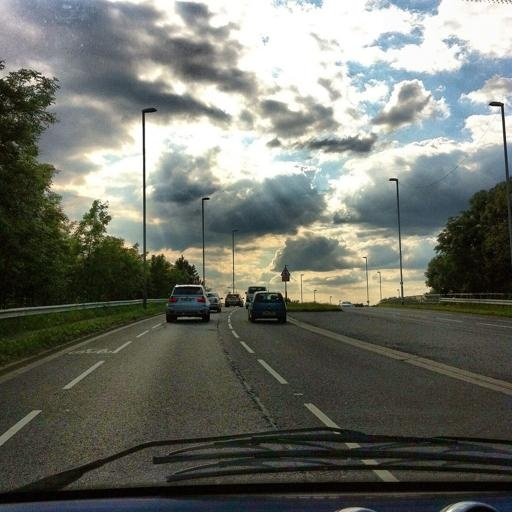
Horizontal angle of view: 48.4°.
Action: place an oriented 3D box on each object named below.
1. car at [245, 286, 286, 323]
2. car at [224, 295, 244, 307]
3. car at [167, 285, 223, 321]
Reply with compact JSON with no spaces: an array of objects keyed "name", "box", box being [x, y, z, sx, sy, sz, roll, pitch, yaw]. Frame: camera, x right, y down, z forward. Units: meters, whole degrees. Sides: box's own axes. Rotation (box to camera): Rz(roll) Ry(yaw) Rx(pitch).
[{"name":"car","box":[0.447,2.089,23.777,1.322,1.060,2.295,0,0,-1]},{"name":"car","box":[-2.262,4.402,56.138,1.717,1.207,2.100,-1,-5,-3]},{"name":"car","box":[-2.858,1.981,23.615,1.723,1.533,0.927,-1,-4,-9]}]
